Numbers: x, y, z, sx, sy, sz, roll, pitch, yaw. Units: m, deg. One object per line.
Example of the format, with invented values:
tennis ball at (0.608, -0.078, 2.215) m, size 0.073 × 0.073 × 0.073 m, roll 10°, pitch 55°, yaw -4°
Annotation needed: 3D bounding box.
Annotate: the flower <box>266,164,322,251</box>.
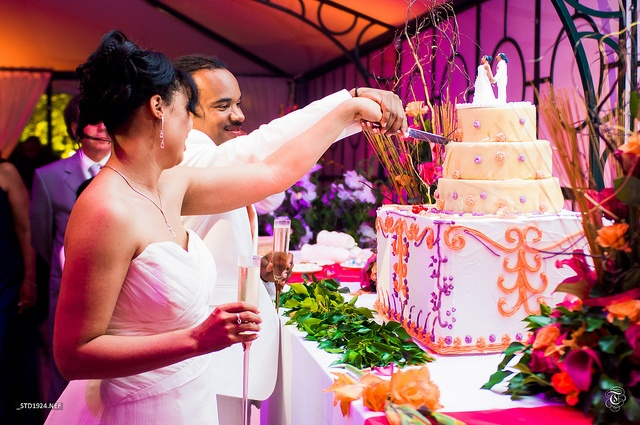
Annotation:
flower at (-0.250, 0.005, 5.387) m, size 0.248 × 0.418 × 0.467 m, roll -1°, pitch -37°, yaw -18°
